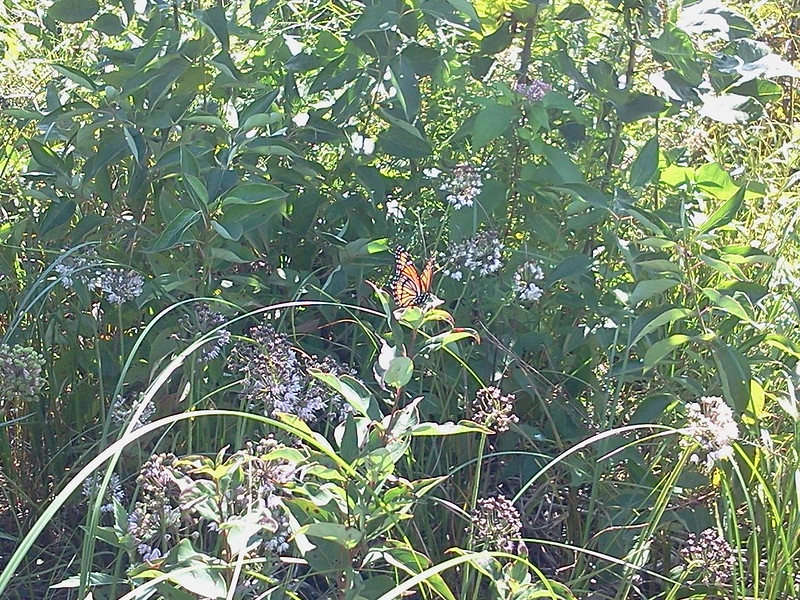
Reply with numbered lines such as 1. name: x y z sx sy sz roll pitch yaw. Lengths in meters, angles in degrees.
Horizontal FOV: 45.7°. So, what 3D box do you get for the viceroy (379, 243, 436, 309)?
1. viceroy: 0.024 -0.061 2.408 0.079 0.141 0.144 24 34 28
